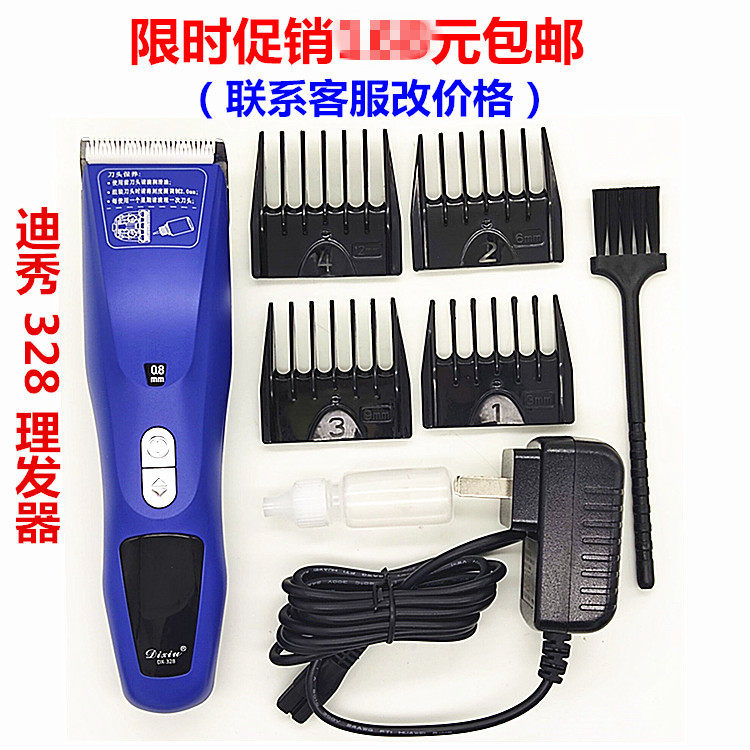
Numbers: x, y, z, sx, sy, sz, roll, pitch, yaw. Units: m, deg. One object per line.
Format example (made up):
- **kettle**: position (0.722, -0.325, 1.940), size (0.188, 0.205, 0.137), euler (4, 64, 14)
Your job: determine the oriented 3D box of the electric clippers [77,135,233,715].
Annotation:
- **electric clippers**: position (-0.250, 0.047, 1.045), size (0.169, 0.653, 0.119), euler (-2, 2, -14)
